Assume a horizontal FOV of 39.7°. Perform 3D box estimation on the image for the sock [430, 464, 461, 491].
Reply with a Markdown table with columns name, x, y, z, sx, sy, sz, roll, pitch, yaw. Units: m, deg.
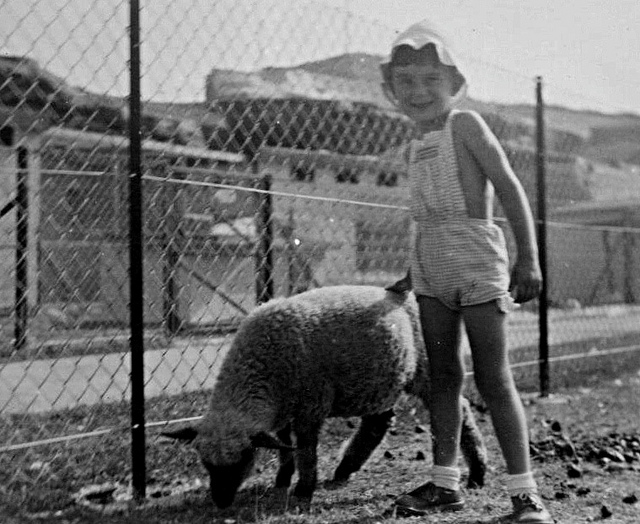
| name | x | y | z | sx | sy | sz | roll | pitch | yaw |
| --- | --- | --- | --- | --- | --- | --- | --- | --- | --- |
| sock | 0.641 | 1.101 | 4.612 | 0.105 | 0.106 | 0.123 | 5 | -6 | 4 |
